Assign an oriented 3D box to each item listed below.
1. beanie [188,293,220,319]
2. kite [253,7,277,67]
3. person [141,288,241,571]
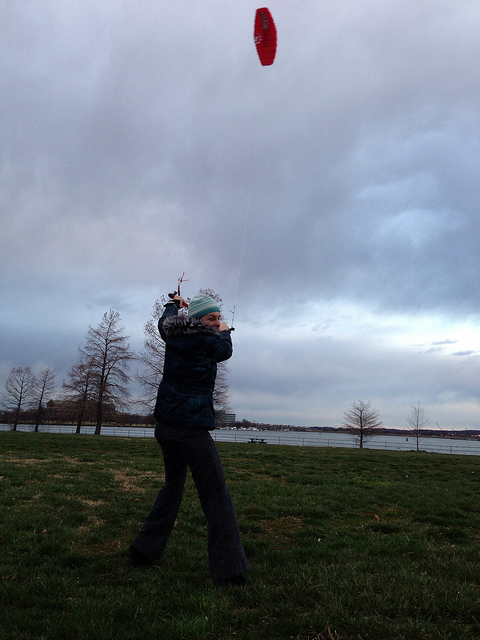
[{"bbox_3d":[-0.347,-0.113,5.155,0.231,0.214,0.220,7,-8,21],"label":"beanie"},{"bbox_3d":[0.352,-4.112,8.134,0.314,1.036,0.460,4,-7,-3],"label":"kite"},{"bbox_3d":[-0.498,1.025,5.169,0.617,2.672,1.111,9,-8,-38],"label":"person"}]
